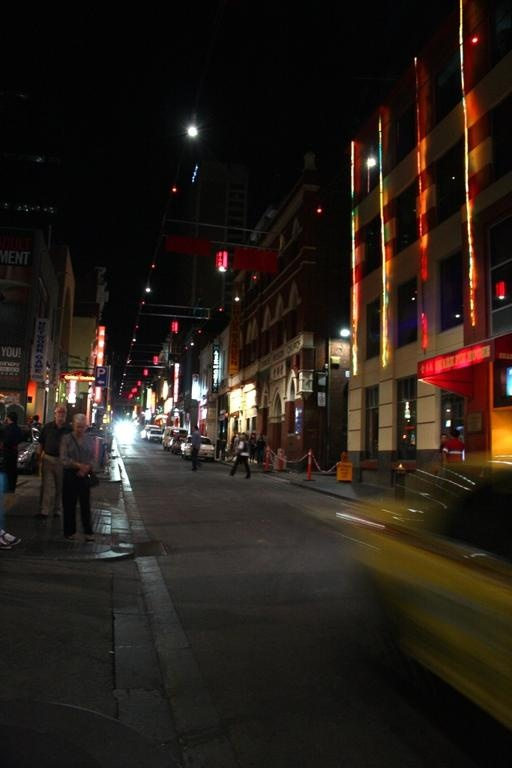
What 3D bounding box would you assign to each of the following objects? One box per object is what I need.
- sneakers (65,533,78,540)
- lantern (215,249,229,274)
[{"bbox_3d":[-2.692,2.214,8.355,0.137,0.160,0.091,3,-2,-7],"label":"sneakers"},{"bbox_3d":[-2.017,-7.403,34.063,0.581,1.605,1.765,3,-6,-11],"label":"lantern"}]
